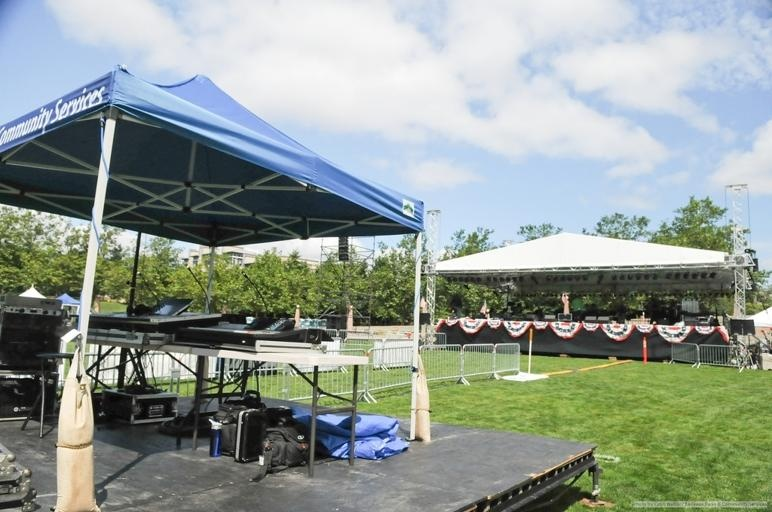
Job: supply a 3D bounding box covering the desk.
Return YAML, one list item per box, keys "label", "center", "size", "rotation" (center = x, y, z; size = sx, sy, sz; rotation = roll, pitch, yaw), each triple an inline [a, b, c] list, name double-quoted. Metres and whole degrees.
- label: "desk"
  center: [-2.889, 2.246, 10.107]
  size: [4.942, 1.591, 1.406]
  rotation: [10, -9, -33]

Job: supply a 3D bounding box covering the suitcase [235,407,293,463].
- label: "suitcase"
  center: [-1.816, 3.126, 11.028]
  size: [1.451, 0.866, 0.511]
  rotation: [4, -10, -24]

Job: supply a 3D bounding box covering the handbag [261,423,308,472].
- label: "handbag"
  center: [-1.598, 3.197, 10.882]
  size: [0.629, 0.940, 1.108]
  rotation: [-18, -23, 36]

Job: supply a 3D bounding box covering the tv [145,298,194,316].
- label: "tv"
  center: [-4.056, 0.971, 11.913]
  size: [0.686, 0.342, 0.212]
  rotation: [-5, -29, 28]

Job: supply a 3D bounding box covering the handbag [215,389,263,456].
- label: "handbag"
  center: [-2.558, 2.911, 11.331]
  size: [0.839, 1.032, 1.031]
  rotation: [-5, -15, 25]
